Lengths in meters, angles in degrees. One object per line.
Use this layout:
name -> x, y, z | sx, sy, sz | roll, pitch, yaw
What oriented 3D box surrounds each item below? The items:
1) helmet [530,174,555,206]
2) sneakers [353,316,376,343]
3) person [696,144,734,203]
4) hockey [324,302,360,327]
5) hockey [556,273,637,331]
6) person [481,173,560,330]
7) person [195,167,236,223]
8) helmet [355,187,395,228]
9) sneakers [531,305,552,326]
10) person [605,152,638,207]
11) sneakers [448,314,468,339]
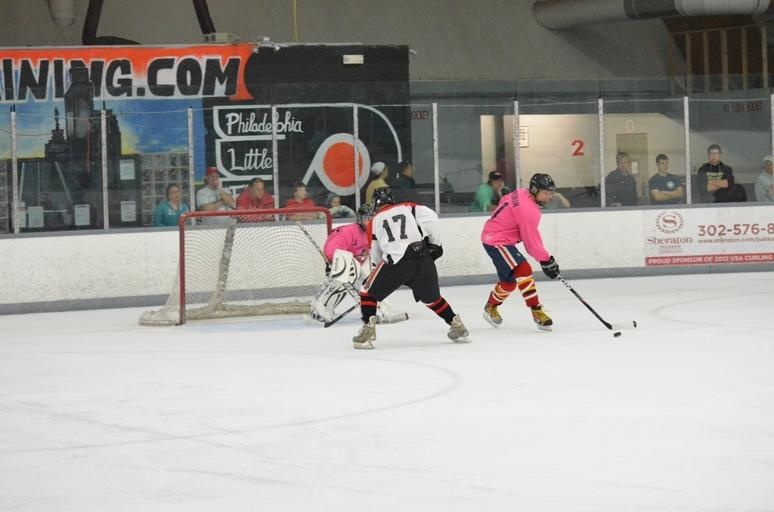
helmet -> 1.574, -0.700, 11.246 | 0.234, 0.299, 0.230 | 1, 5, 5
sneakers -> -0.176, 0.693, 10.630 | 0.280, 0.250, 0.161 | -3, 7, -35
person -> 4.266, -1.086, 14.217 | 0.471, 0.752, 0.152 | 2, 5, 12
hockey -> -0.491, 0.630, 11.924 | 0.037, 0.086, 0.690 | 11, 31, 43
hockey -> 2.338, 0.513, 12.268 | 0.892, 0.269, 0.122 | 27, -25, -2
person -> 1.361, -0.069, 11.326 | 0.781, 1.583, 0.733 | 1, 5, 4
person -> -2.137, -0.761, 13.599 | 0.479, 0.719, 0.212 | 0, 5, -9
helmet -> -0.044, -0.514, 10.976 | 0.363, 0.424, 0.437 | 2, 5, -45
sneakers -> 1.561, 0.602, 11.116 | 0.203, 0.238, 0.126 | 2, 5, 7
person -> 3.044, -1.016, 14.209 | 0.418, 0.696, 0.123 | 1, 5, 5
sneakers -> 0.693, 0.675, 10.769 | 0.150, 0.247, 0.272 | -20, 11, -8
